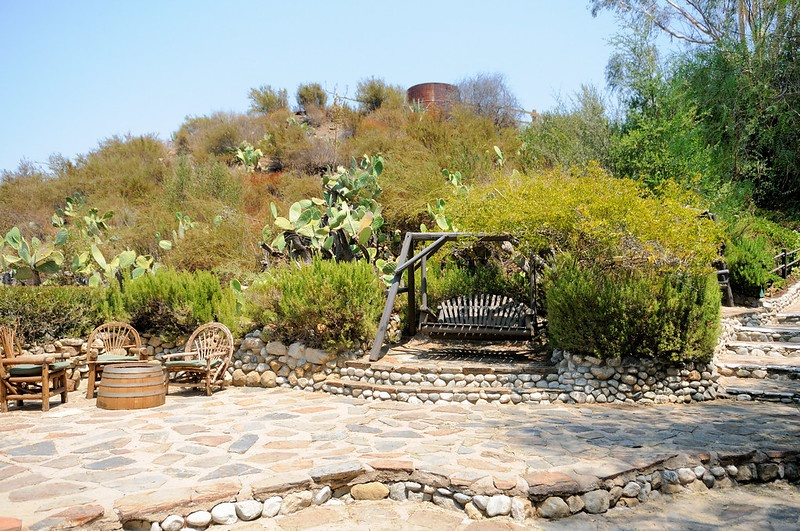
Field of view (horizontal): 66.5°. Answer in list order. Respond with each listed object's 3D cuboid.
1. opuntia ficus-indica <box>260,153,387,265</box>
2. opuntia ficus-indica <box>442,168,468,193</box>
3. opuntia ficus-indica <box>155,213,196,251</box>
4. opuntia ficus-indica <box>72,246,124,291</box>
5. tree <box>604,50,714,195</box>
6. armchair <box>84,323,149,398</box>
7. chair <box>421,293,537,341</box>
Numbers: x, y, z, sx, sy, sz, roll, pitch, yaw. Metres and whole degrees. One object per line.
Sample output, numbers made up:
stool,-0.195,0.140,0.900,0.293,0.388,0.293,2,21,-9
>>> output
opuntia ficus-indica,-1.459,-1.226,13.121,2.173,2.198,1.970,-1,11,-3
opuntia ficus-indica,1.286,-2.000,14.214,0.288,0.632,0.733,-23,38,5
opuntia ficus-indica,-5.323,-0.836,14.648,0.904,0.901,1.784,-5,12,-19
opuntia ficus-indica,-6.475,0.007,13.085,0.901,1.051,1.402,-10,14,-39
tree,7.806,-4.341,18.240,2.848,4.288,4.327,3,12,18
armchair,-5.358,1.611,11.358,0.935,1.335,1.775,-7,13,-27
chair,1.496,0.960,11.560,2.119,0.651,1.360,2,11,13
